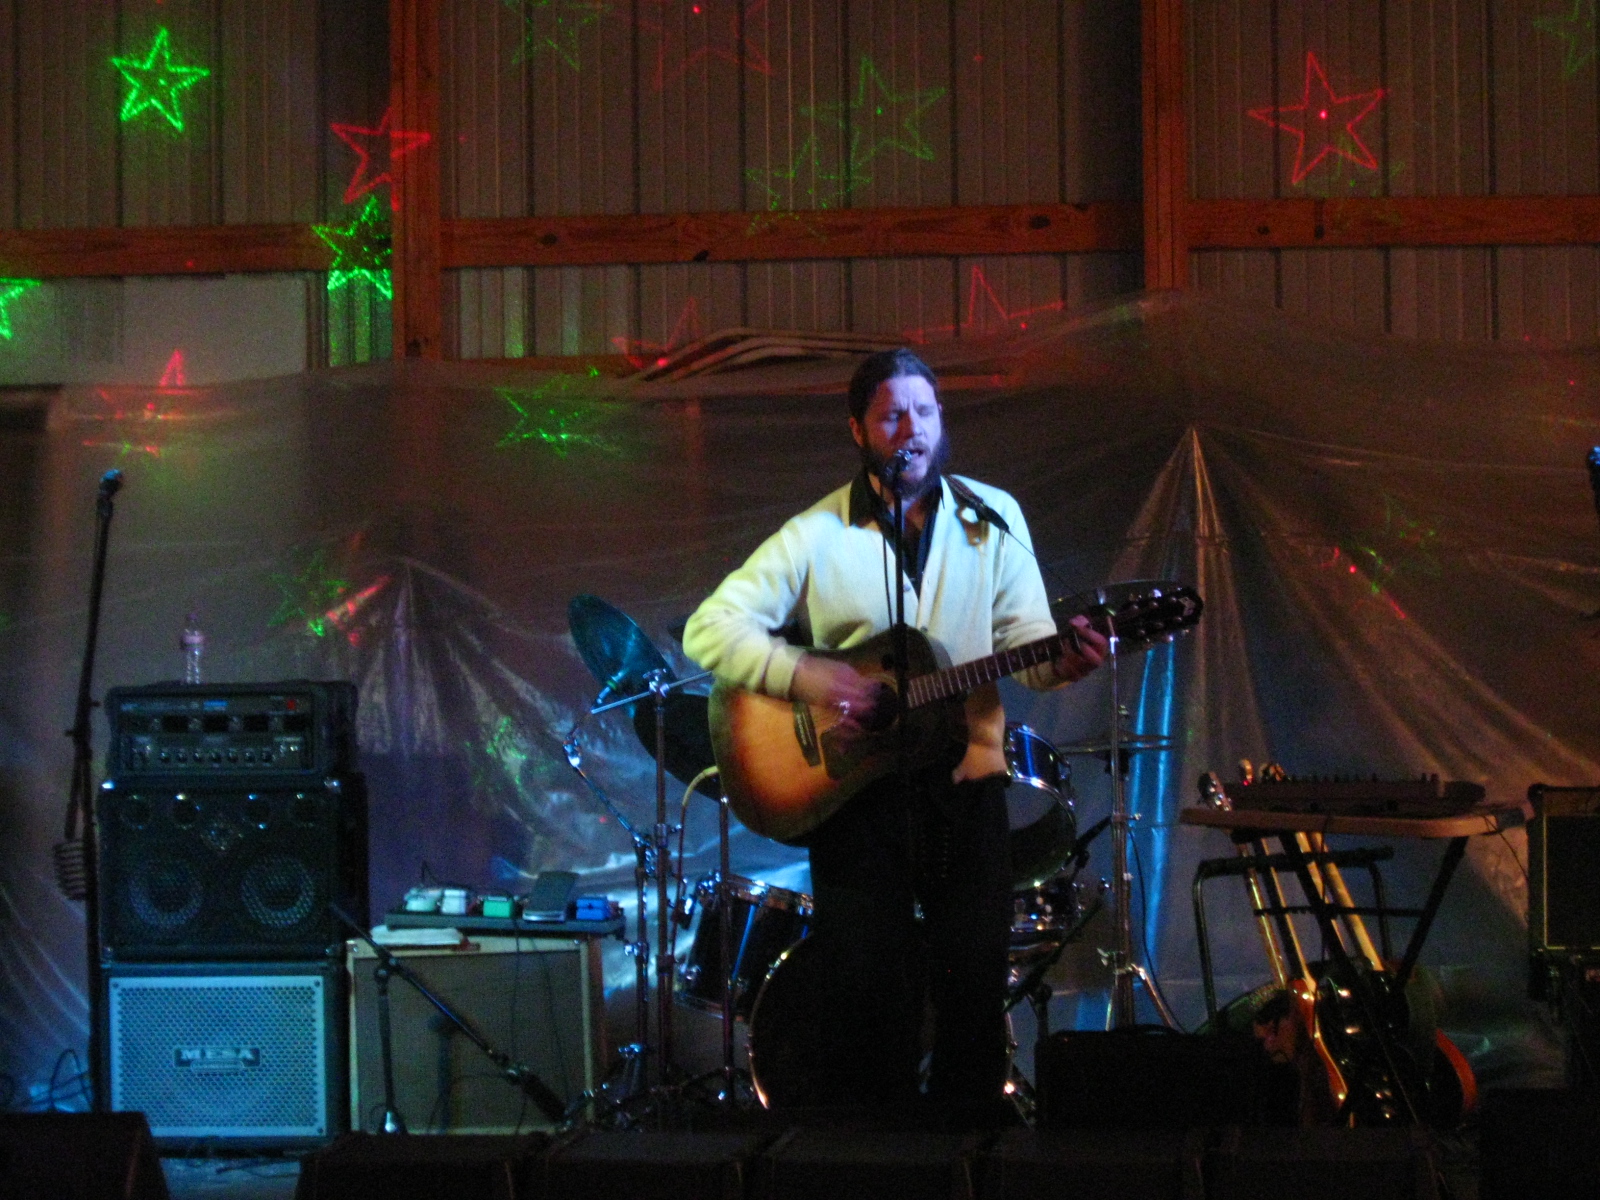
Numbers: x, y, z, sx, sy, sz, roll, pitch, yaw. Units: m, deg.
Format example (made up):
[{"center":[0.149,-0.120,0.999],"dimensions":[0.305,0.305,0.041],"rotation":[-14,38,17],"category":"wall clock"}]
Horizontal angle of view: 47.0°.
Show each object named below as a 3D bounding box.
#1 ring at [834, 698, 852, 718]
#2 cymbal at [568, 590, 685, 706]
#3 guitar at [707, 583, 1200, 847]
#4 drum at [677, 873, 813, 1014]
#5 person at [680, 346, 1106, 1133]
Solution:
[{"center":[0.105,0.277,4.696],"dimensions":[0.036,0.039,0.012],"rotation":[0,-14,15],"category":"ring"},{"center":[-0.578,0.156,5.840],"dimensions":[0.301,0.334,0.226],"rotation":[-2,-6,18],"category":"cymbal"},{"center":[0.423,0.310,4.816],"dimensions":[1.358,0.586,0.223],"rotation":[-21,-21,14],"category":"guitar"},{"center":[-0.166,1.108,5.904],"dimensions":[0.384,0.381,0.399],"rotation":[22,-11,22],"category":"drum"},{"center":[0.258,0.330,4.703],"dimensions":[0.943,1.927,0.445],"rotation":[1,-6,-4],"category":"person"}]
